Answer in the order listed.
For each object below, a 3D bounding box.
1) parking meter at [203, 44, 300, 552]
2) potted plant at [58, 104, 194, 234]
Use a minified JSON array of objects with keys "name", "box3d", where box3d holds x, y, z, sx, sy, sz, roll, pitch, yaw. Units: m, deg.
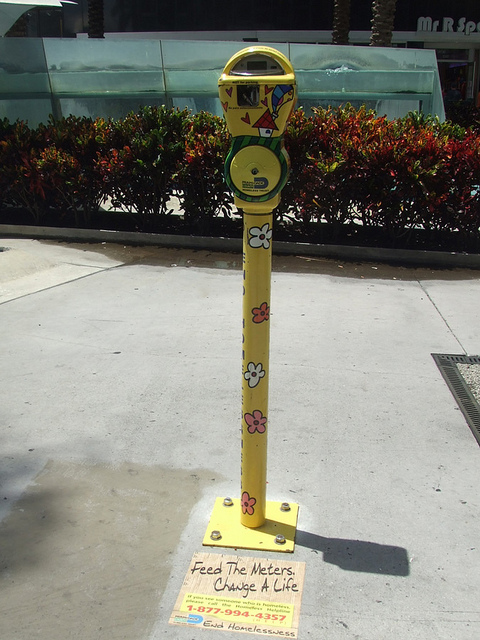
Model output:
[{"name":"parking meter","box3d":[0.063,-0.013,1.672,0.349,1.741,0.327,3,14,8]},{"name":"potted plant","box3d":[-1.679,-2.312,7.267,2.235,1.892,0.749,7,15,24]}]
